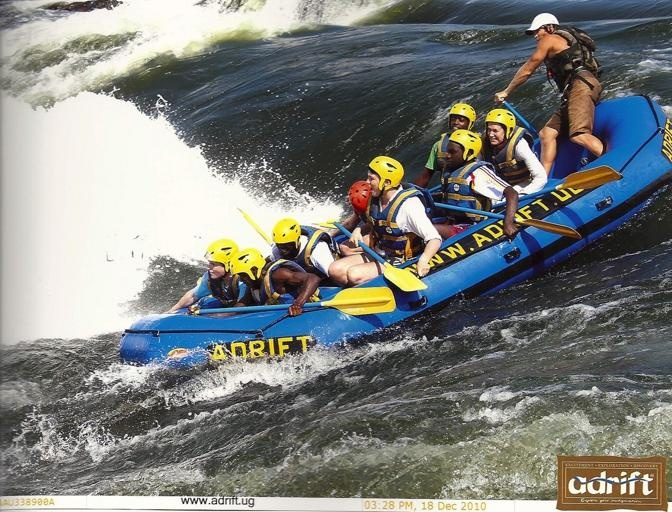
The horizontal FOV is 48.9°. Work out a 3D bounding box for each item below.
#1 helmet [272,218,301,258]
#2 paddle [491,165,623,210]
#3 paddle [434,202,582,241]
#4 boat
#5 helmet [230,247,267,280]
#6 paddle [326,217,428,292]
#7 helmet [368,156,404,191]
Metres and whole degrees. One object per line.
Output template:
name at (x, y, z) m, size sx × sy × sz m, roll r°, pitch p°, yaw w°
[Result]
helmet at (-0.515, -0.181, 7.814) m, size 0.292 × 0.411 × 0.291 m, roll -11°, pitch -11°, yaw -1°
paddle at (2.676, -0.805, 8.609) m, size 1.300 × 0.242 × 0.123 m, roll -13°, pitch 39°, yaw 46°
paddle at (2.005, -0.393, 8.368) m, size 1.640 × 0.163 × 0.090 m, roll 13°, pitch 31°, yaw 16°
boat at (1.046, -0.065, 8.413) m, size 6.873 × 0.931 × 2.724 m, roll -16°, pitch 17°, yaw -12°
helmet at (-0.939, 0.103, 7.827) m, size 0.384 × 0.342 × 0.204 m, roll -8°, pitch -12°, yaw -6°
paddle at (0.314, -0.001, 8.131) m, size 0.270 × 0.101 × 1.689 m, roll -29°, pitch 38°, yaw -28°
helmet at (0.534, -0.889, 7.894) m, size 0.343 × 0.361 × 0.149 m, roll -9°, pitch -12°, yaw -4°
